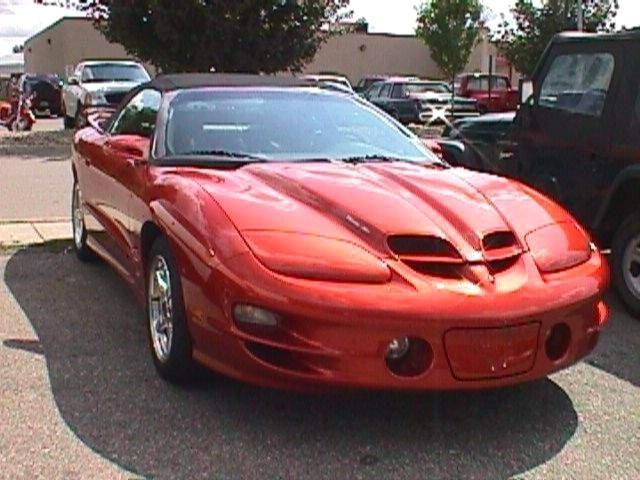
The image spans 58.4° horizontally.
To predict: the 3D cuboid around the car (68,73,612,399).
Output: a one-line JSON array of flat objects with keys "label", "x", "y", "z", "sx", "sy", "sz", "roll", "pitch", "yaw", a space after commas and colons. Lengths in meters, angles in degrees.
[{"label": "car", "x": -0.335, "y": -0.194, "z": 4.175, "sx": 1.750, "sy": 1.468, "sz": 3.888, "roll": -2, "pitch": 11, "yaw": -24}]
